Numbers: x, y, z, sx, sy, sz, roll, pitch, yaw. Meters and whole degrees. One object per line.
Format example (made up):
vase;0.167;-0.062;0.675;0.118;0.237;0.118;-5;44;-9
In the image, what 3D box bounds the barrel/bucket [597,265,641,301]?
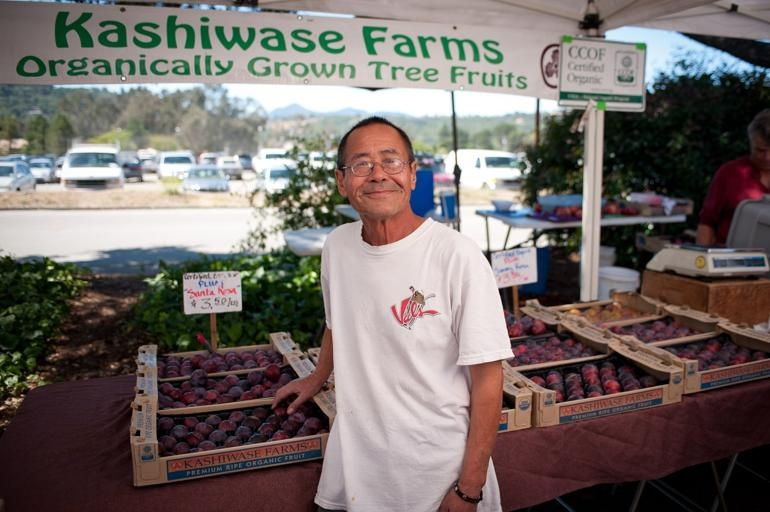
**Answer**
barrel/bucket;2.547;0.263;6.534;0.444;0.369;0.470;5;2;0
